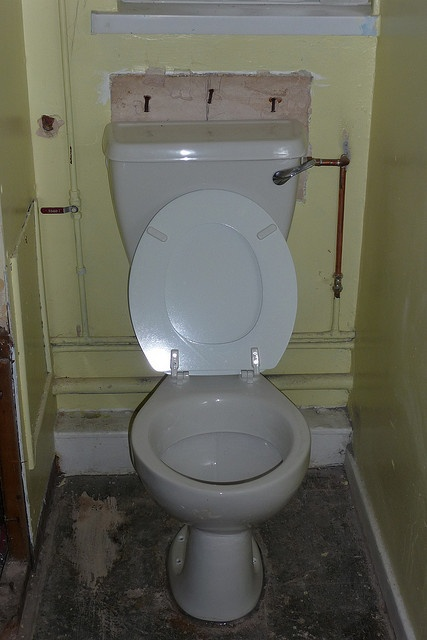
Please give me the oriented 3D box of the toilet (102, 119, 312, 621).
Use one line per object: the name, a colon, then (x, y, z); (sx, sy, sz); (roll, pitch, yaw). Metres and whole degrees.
toilet: (0.013, 0.106, 1.186); (0.441, 0.968, 0.691); (-4, 27, -11)
